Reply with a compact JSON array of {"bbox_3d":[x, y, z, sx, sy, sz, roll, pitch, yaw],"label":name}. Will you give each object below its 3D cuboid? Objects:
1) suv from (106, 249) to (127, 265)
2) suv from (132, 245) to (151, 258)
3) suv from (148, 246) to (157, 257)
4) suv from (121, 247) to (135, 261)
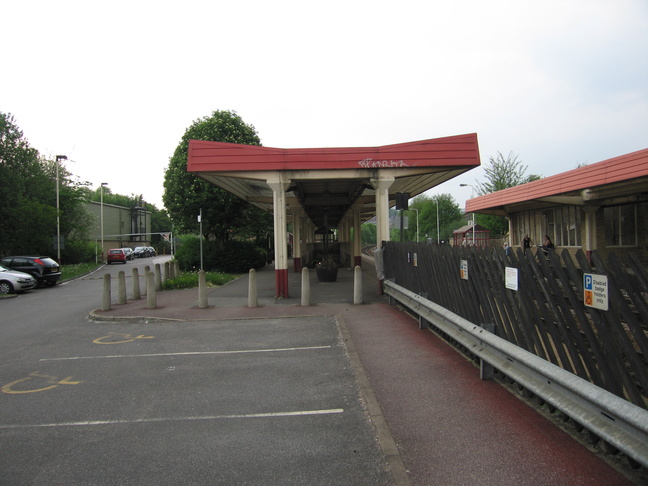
[{"bbox_3d":[-20.459,1.295,51.895,1.069,0.970,2.096,-2,3,-15],"label":"suv"},{"bbox_3d":[-25.987,1.270,74.089,1.419,1.316,2.474,-1,-7,-11],"label":"suv"},{"bbox_3d":[-27.013,1.113,81.984,1.684,1.533,2.808,-1,-12,-15],"label":"suv"},{"bbox_3d":[-23.338,1.303,62.384,1.038,0.912,2.531,0,-7,-7],"label":"suv"}]
